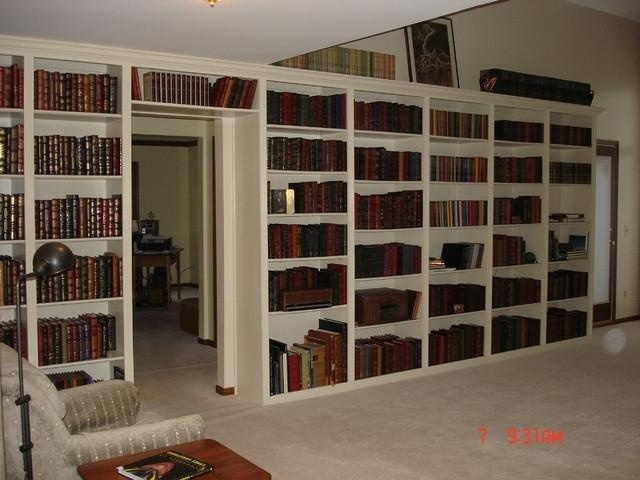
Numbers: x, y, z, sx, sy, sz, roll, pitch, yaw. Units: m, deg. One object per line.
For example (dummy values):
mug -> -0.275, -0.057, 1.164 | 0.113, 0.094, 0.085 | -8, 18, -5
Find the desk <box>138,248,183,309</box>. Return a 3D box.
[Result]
desk -> -3.144, 0.727, 10.279 | 0.762, 1.241, 1.969 | 0, 4, -10

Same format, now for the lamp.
lamp -> -1.517, 0.644, 2.926 | 0.311, 1.255, 0.375 | -2, 5, -27
